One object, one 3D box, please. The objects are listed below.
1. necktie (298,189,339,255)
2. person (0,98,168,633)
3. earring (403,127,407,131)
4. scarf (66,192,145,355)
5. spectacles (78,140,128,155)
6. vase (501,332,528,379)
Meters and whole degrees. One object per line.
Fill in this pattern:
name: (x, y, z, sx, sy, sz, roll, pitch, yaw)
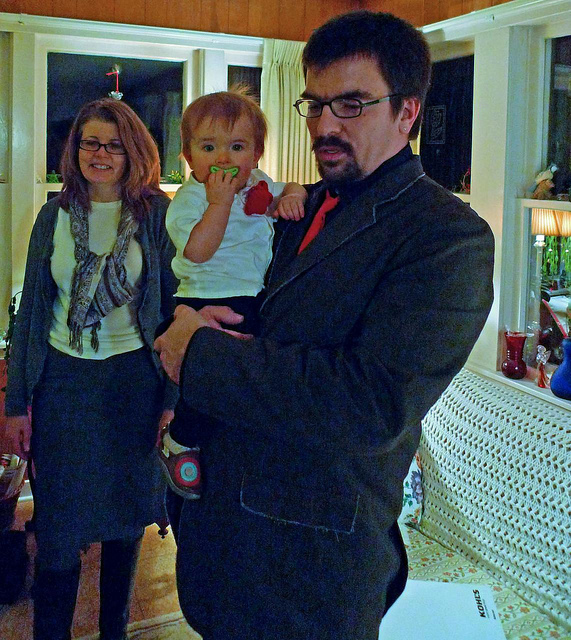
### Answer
necktie: (0.059, -0.176, 0.959, 0.033, 0.039, 0.155, -13, 30, 44)
person: (-0.592, 0.173, 1.724, 0.484, 1.605, 0.240, -2, 10, -15)
earring: (0.184, -0.292, 0.890, 0.002, 0.004, 0.009, 6, 13, 25)
scarf: (-0.527, -0.137, 1.676, 0.203, 0.445, 0.179, -3, 11, -22)
spectacles: (-0.530, -0.495, 1.666, 0.140, 0.038, 0.020, 1, 10, -3)
vase: (0.959, 0.153, 2.429, 0.095, 0.195, 0.114, -9, 13, -37)
